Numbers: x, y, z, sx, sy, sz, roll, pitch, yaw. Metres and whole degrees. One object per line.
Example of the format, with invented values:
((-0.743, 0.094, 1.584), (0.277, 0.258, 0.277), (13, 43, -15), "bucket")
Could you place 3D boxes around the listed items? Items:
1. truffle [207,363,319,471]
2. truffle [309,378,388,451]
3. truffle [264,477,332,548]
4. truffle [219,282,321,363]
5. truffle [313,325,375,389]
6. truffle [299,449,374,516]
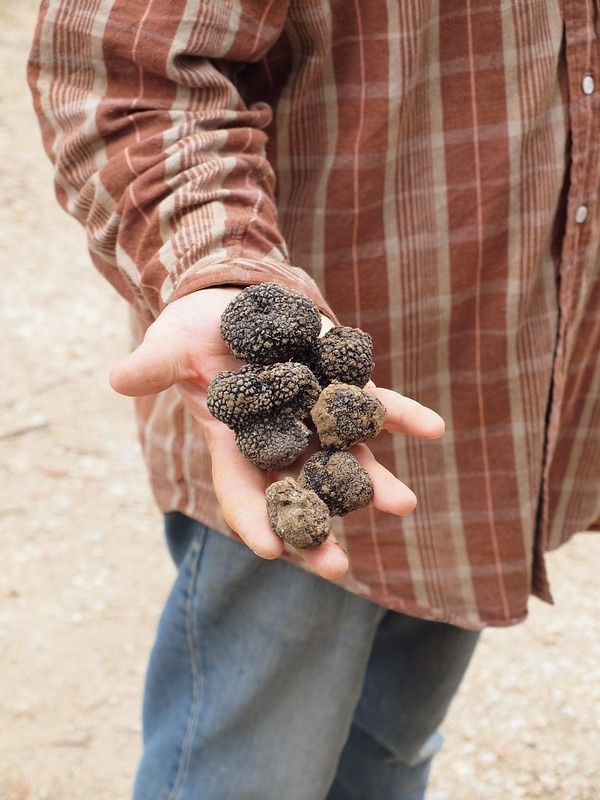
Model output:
((-0.054, 0.006, 1.312), (0.160, 0.177, 0.092), (-19, 6, 2), "truffle")
((0.069, 0.020, 1.250), (0.105, 0.106, 0.045), (-34, 4, -1), "truffle")
((-0.005, 0.164, 1.199), (0.087, 0.041, 0.101), (-16, 58, -14), "truffle")
((-0.046, -0.117, 1.274), (0.132, 0.073, 0.144), (9, 3, -2), "truffle")
((0.073, -0.070, 1.379), (0.095, 0.098, 0.102), (-11, -3, 23), "truffle")
((0.049, 0.133, 1.298), (0.118, 0.061, 0.096), (-9, 57, -4), "truffle")
